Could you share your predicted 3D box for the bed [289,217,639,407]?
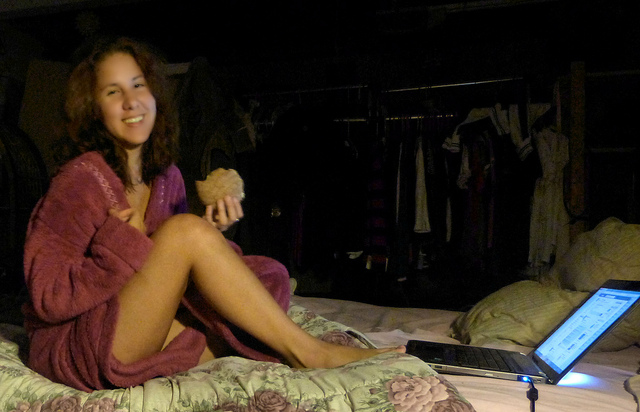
[{"bbox_3d":[1.150,0.791,3.528,1.912,0.632,1.422,-1,-2,10],"label":"bed"}]
